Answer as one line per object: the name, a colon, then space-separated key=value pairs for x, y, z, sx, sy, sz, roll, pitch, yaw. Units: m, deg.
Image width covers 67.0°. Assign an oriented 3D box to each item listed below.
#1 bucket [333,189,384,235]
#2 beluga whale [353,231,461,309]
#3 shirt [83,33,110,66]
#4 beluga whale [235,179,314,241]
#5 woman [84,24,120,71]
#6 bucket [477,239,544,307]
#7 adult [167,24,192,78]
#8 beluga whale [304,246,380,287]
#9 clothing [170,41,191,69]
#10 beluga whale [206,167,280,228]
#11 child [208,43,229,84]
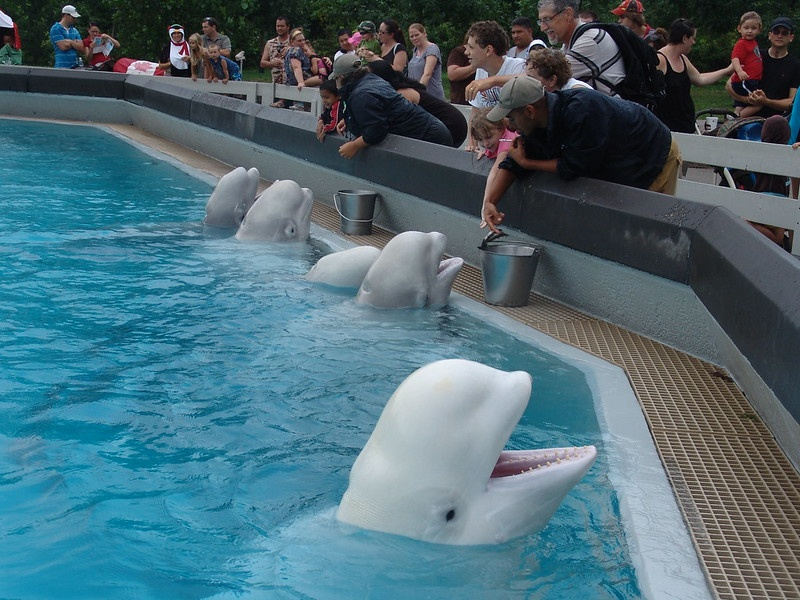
bucket: x=-0.435 y=-0.896 z=6.305 sx=0.447 sy=0.401 sz=0.479 roll=3 pitch=12 yaw=-1
beluga whale: x=0.100 y=-0.212 z=4.323 sx=0.742 sy=0.545 sz=0.327 roll=1 pitch=19 yaw=-22
shirt: x=-7.973 y=-6.478 z=15.783 sx=0.653 sy=0.741 sz=0.512 roll=6 pitch=18 yaw=-7
beluga whale: x=-1.191 y=-0.825 z=5.784 sx=0.775 sy=0.404 sz=0.459 roll=-35 pitch=40 yaw=-19
woman: x=-7.792 y=-6.585 z=15.789 sx=0.909 sy=1.187 sz=1.156 roll=-20 pitch=25 yaw=-32
bucket: x=0.852 y=-0.171 z=4.519 sx=0.517 sy=0.440 sz=0.545 roll=5 pitch=-1 yaw=0
adult: x=-5.376 y=-5.932 z=14.739 sx=0.546 sy=1.442 sz=0.458 roll=-6 pitch=41 yaw=-10
beluga whale: x=-0.431 y=-0.298 z=4.808 sx=0.676 sy=0.213 sz=0.415 roll=2 pitch=-4 yaw=28
clothing: x=-5.368 y=-5.911 z=14.855 sx=0.574 sy=0.716 sz=0.389 roll=2 pitch=-2 yaw=-1
beluga whale: x=-1.712 y=-1.149 z=6.370 sx=0.412 sy=0.839 sz=0.299 roll=41 pitch=-34 yaw=-15
child: x=-4.066 y=-5.209 z=13.369 sx=0.454 sy=0.751 sz=0.330 roll=2 pitch=19 yaw=-19
